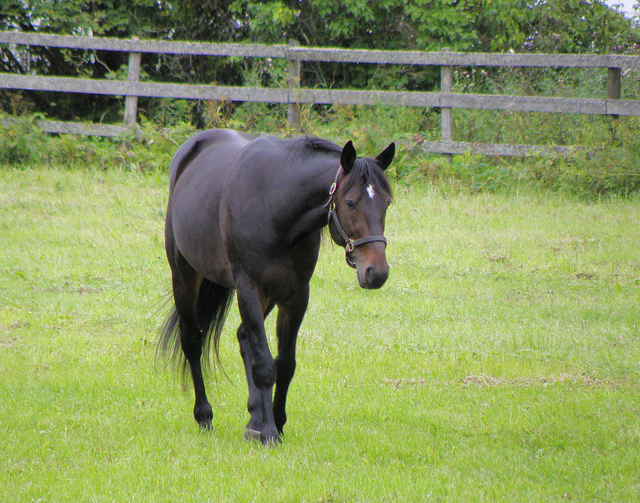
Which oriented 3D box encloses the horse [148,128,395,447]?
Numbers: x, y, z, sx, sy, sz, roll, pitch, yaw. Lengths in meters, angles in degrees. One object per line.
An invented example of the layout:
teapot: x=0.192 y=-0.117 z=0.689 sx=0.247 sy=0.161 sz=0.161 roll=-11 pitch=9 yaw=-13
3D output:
horse: x=-0.860 y=0.450 z=11.814 sx=1.190 sy=3.564 sz=4.565 roll=0 pitch=1 yaw=-35
